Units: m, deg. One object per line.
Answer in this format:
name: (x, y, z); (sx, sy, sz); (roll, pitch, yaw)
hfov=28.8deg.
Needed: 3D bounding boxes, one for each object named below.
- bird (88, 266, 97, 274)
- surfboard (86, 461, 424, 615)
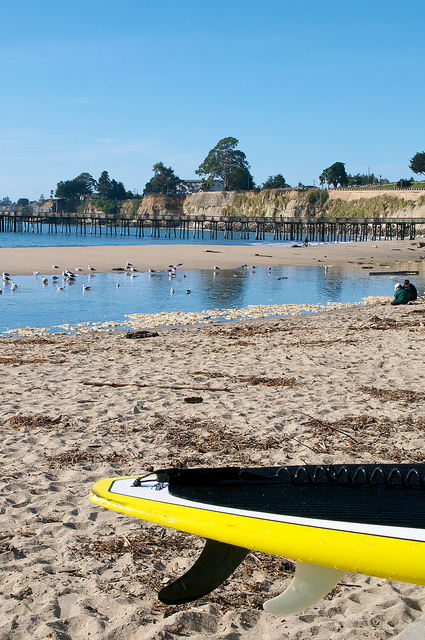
bird: (-5.035, -2.044, 34.422); (0.167, 0.358, 0.450); (3, 14, 14)
surfboard: (0.207, 0.844, 3.693); (1.447, 0.556, 0.726); (0, 3, 21)
